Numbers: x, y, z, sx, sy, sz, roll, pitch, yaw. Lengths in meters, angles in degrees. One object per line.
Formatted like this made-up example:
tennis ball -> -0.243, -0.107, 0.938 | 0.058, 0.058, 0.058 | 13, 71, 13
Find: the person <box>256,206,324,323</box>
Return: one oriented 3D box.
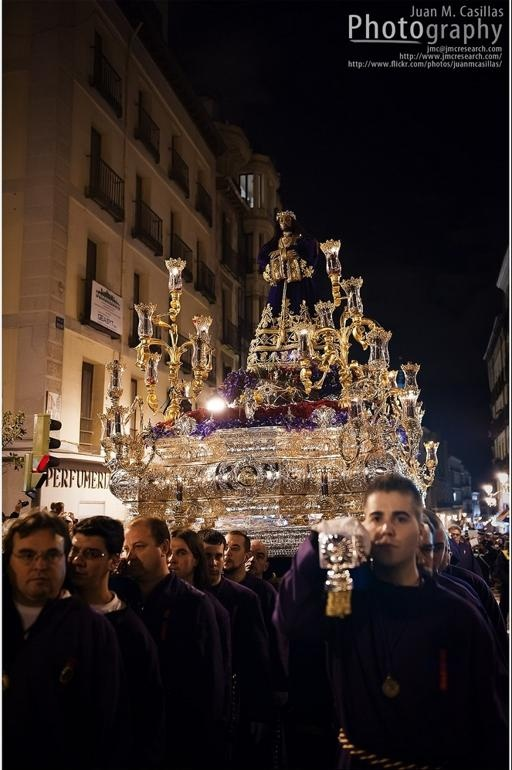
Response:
person -> 0.381, -1.479, 8.213 | 0.740, 1.409, 0.583 | -1, -8, 7
